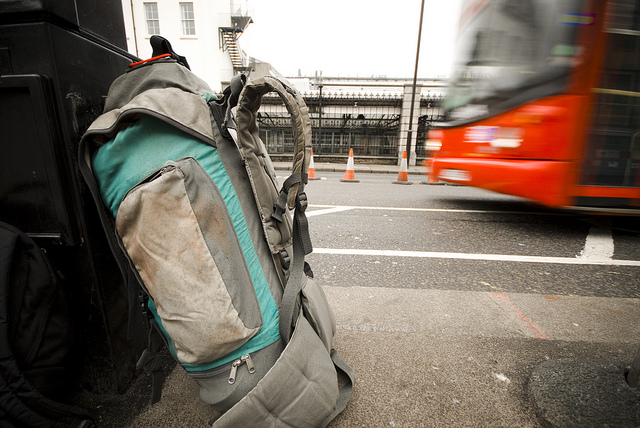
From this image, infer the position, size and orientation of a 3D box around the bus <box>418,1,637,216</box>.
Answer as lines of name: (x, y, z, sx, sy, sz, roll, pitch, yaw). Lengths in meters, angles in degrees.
bus: (2.405, -1.375, 4.969, 1.110, 2.361, 2.286, -5, 18, -17)

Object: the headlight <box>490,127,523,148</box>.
headlight: (2.041, -0.836, 4.679, 0.250, 0.172, 0.251, 6, 5, -32)
